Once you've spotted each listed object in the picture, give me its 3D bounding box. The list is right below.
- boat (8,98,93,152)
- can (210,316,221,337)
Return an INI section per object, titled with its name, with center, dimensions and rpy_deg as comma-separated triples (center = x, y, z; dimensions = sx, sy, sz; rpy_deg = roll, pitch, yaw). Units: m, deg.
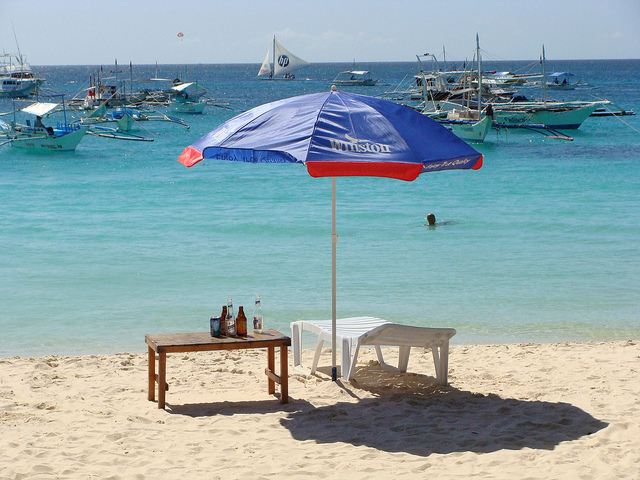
[boat]
center = -17.877, -7.188, 57.597
dimensions = 3.943, 2.793, 25.395
rpy_deg = -5, 9, -18
[can]
center = -1.443, 1.177, 12.418
dimensions = 0.163, 0.275, 0.130
rpy_deg = -4, 12, -7
